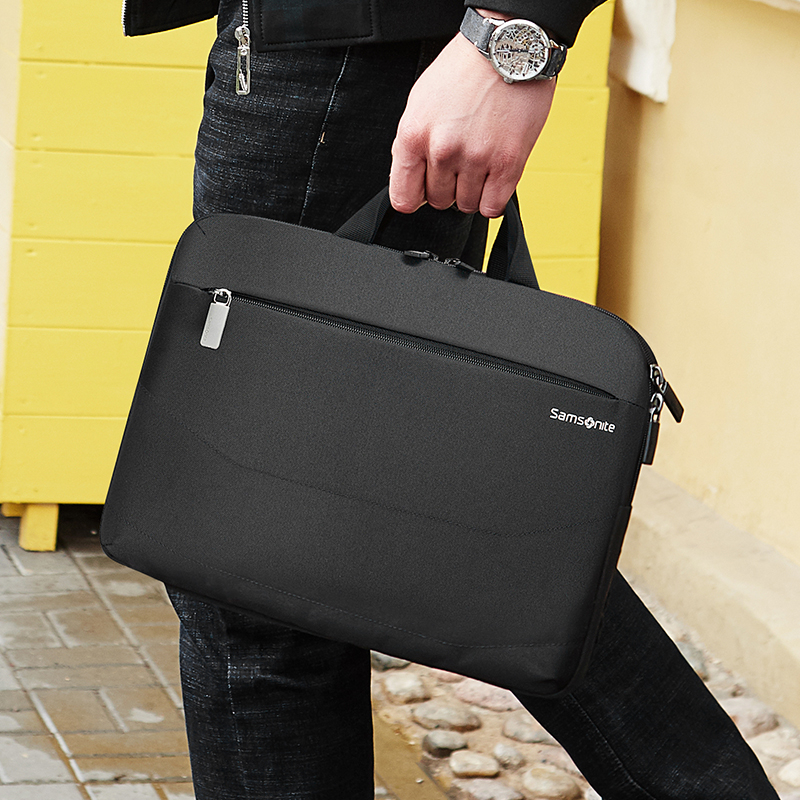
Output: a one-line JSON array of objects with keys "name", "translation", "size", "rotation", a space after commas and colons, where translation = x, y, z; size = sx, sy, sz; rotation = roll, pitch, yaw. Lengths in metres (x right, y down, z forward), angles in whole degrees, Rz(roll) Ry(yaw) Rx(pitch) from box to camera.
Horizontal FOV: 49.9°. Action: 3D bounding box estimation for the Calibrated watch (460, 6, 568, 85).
[{"name": "Calibrated watch", "translation": [0.090, -0.275, 0.674], "size": [0.094, 0.039, 0.080], "rotation": [15, 8, 14]}]
